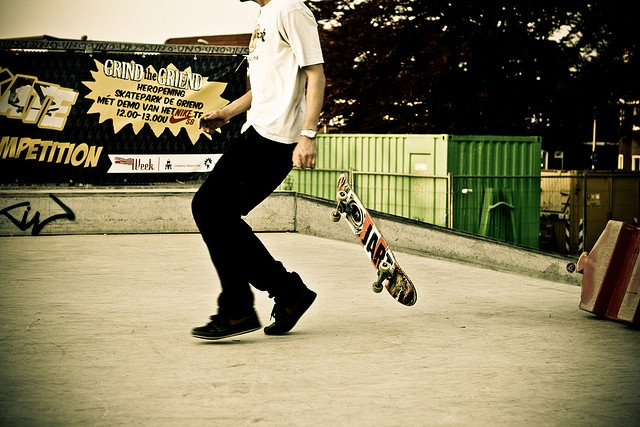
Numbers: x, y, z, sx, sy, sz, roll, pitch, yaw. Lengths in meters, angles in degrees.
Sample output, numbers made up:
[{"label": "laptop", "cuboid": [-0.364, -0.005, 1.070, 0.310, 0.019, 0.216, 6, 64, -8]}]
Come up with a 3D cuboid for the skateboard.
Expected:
[{"label": "skateboard", "cuboid": [0.730, 0.352, 9.412, 0.269, 1.864, 0.445, -23, -18, -43]}]
